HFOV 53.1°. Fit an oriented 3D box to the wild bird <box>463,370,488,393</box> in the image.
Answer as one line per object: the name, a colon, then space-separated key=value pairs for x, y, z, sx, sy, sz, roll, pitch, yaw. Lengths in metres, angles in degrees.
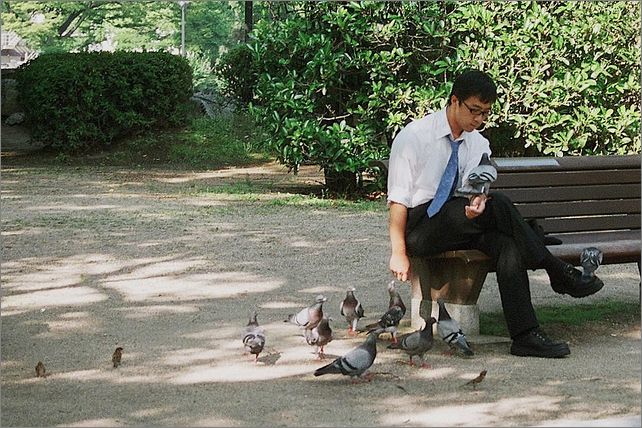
wild bird: x=1.321 y=1.366 z=5.282 sx=0.273 sy=0.184 sz=0.094 roll=5 pitch=-6 yaw=-8

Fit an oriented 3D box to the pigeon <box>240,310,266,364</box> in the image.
pigeon: x=-0.627 y=1.178 z=5.916 sx=0.182 sy=0.292 sz=0.467 roll=-1 pitch=13 yaw=-5

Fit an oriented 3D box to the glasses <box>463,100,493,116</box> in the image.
glasses: x=1.375 y=-0.961 z=5.829 sx=0.169 sy=0.049 sz=0.163 roll=1 pitch=44 yaw=-25

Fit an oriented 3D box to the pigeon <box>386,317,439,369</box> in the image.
pigeon: x=0.811 y=1.135 z=5.744 sx=0.544 sy=0.412 sz=0.228 roll=-1 pitch=-2 yaw=33

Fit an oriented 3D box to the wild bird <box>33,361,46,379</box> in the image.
wild bird: x=-2.435 y=1.330 z=5.544 sx=0.089 sy=0.131 sz=0.146 roll=-6 pitch=14 yaw=-25

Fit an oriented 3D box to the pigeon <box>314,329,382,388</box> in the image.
pigeon: x=0.288 y=1.212 z=5.444 sx=0.774 sy=0.443 sz=0.277 roll=-6 pitch=-3 yaw=-13

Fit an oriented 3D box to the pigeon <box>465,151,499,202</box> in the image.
pigeon: x=1.421 y=-0.336 z=5.719 sx=0.250 sy=0.409 sz=0.329 roll=-2 pitch=-1 yaw=14

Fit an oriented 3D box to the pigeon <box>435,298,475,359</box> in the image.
pigeon: x=1.241 y=1.057 z=5.909 sx=0.335 sy=0.523 sz=0.693 roll=3 pitch=-3 yaw=-2

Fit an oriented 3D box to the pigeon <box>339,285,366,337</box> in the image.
pigeon: x=0.313 y=0.964 z=6.547 sx=0.230 sy=0.477 sz=0.442 roll=0 pitch=3 yaw=17

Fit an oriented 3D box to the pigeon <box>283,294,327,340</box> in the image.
pigeon: x=-0.147 y=0.993 z=6.307 sx=0.280 sy=0.442 sz=0.620 roll=-6 pitch=8 yaw=-44

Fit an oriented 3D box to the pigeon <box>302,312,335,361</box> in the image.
pigeon: x=-0.040 y=1.132 z=5.995 sx=0.208 sy=0.379 sz=0.558 roll=2 pitch=-5 yaw=-27

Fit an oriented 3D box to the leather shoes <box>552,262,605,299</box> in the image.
leather shoes: x=2.249 y=0.568 z=5.676 sx=0.234 sy=0.271 sz=0.456 roll=-18 pitch=6 yaw=-29

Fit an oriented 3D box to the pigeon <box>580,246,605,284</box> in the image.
pigeon: x=2.409 y=0.421 z=5.731 sx=0.175 sy=0.259 sz=0.110 roll=3 pitch=-8 yaw=16
